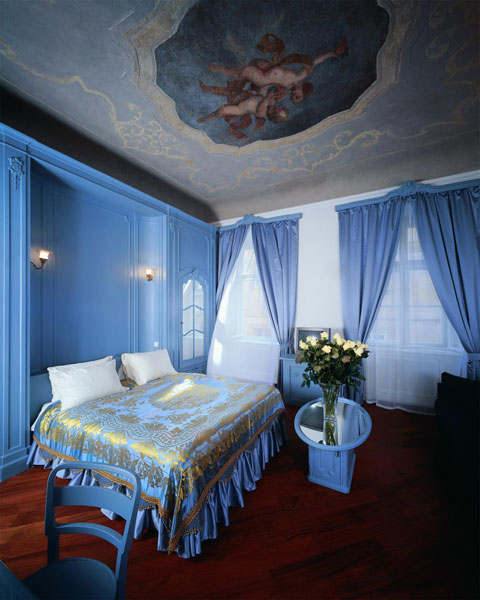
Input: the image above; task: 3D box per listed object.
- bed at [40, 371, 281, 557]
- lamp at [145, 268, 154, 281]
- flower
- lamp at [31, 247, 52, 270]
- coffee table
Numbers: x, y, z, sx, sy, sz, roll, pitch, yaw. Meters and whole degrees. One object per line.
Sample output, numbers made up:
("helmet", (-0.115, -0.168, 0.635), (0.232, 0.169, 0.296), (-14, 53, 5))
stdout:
("bed", (-0.330, 1.094, 3.250), (1.236, 0.439, 1.226), (2, 2, 30))
("lamp", (-1.197, -0.346, 5.323), (0.079, 0.169, 0.133), (7, 14, 32))
("flower", (0.733, 0.615, 3.234), (0.543, 0.699, 0.284), (2, 12, 12))
("lamp", (-1.894, -0.406, 3.919), (0.208, 0.196, 0.135), (0, 1, 2))
("coffee table", (0.812, 1.187, 3.411), (0.650, 0.475, 0.694), (1, 13, 24))
